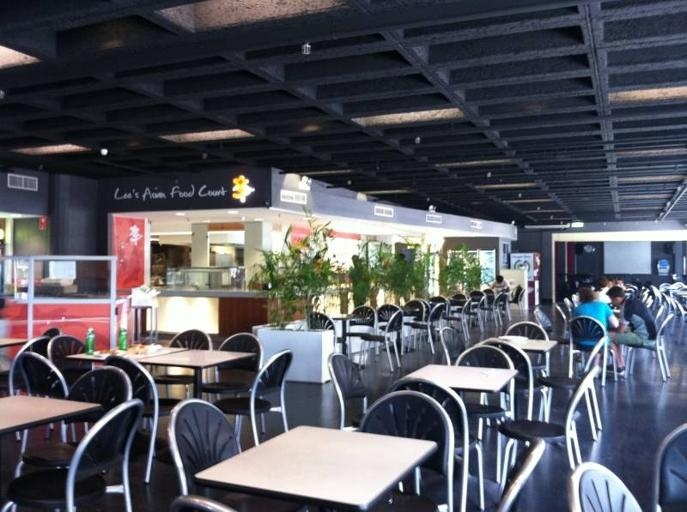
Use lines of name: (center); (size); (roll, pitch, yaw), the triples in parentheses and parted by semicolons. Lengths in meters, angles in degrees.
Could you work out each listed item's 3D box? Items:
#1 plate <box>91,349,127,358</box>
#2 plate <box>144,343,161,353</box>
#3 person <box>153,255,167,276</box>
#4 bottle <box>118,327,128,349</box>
plate: (-2.243, 0.936, 5.412); (0.327, 0.077, 0.471); (4, -5, -24)
plate: (-1.883, 0.903, 5.612); (0.061, 0.071, 0.176); (4, 1, 7)
person: (-6.076, 0.229, 18.624); (0.431, 0.634, 0.946); (3, -4, -19)
bottle: (-2.174, 0.809, 5.585); (0.085, 0.221, 0.169); (4, -4, -27)
